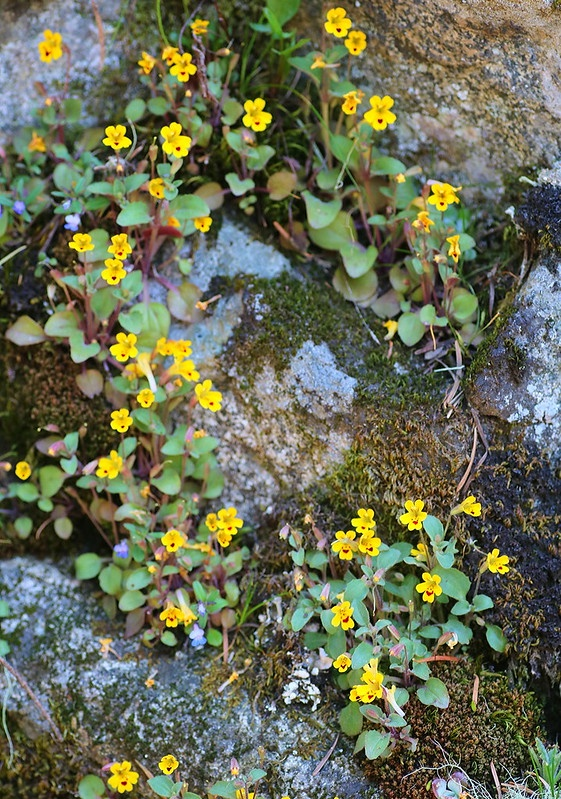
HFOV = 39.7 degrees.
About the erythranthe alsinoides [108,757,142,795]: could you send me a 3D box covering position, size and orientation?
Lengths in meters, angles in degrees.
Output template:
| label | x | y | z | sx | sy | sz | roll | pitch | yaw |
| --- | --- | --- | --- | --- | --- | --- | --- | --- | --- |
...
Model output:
| label | x | y | z | sx | sy | sz | roll | pitch | yaw |
| --- | --- | --- | --- | --- | --- | --- | --- | --- | --- |
| erythranthe alsinoides | -0.526 | 1.278 | 2.620 | 0.101 | 0.299 | 0.089 | -8 | 58 | -17 |
